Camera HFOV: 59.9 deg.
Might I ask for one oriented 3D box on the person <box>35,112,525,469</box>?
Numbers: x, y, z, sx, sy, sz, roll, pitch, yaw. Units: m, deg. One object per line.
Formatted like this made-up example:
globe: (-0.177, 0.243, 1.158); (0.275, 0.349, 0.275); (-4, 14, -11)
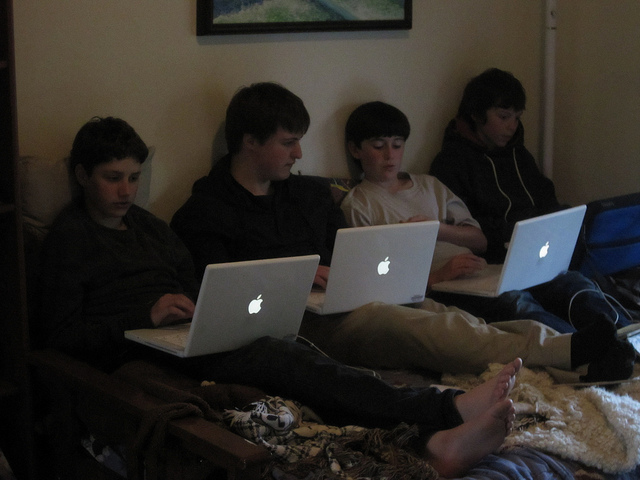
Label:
person: (-0.172, 0.130, 1.984); (1.626, 0.990, 0.743); (8, 17, 11)

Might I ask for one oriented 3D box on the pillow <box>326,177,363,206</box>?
pillow: (0.123, -0.263, 2.841); (0.139, 0.057, 0.134); (-19, 29, -40)

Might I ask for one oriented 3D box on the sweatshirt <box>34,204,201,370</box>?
sweatshirt: (-0.712, 0.108, 2.095); (0.368, 0.557, 0.666); (-8, 7, 34)

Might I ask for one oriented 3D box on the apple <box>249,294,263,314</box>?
apple: (-0.201, 0.203, 1.762); (0.043, 0.064, 0.025); (-1, 12, -13)

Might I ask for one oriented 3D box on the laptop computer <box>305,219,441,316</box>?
laptop computer: (0.203, 0.068, 2.161); (0.454, 0.349, 0.381); (-3, 12, -33)

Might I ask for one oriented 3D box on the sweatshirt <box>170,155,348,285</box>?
sweatshirt: (-0.279, -0.076, 2.303); (0.429, 0.383, 0.231); (-20, 1, -38)

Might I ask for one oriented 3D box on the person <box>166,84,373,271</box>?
person: (-0.197, -0.203, 2.582); (0.700, 0.818, 0.960); (4, 12, 29)

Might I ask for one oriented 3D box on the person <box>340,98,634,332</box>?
person: (0.706, -0.160, 3.027); (1.579, 1.218, 0.781); (3, 10, 41)

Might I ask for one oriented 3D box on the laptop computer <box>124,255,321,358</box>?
laptop computer: (-0.311, 0.193, 1.894); (0.515, 0.313, 0.476); (-1, 6, -41)

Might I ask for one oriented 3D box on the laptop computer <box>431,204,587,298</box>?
laptop computer: (0.865, -0.022, 2.428); (0.448, 0.333, 0.509); (6, 9, 44)
